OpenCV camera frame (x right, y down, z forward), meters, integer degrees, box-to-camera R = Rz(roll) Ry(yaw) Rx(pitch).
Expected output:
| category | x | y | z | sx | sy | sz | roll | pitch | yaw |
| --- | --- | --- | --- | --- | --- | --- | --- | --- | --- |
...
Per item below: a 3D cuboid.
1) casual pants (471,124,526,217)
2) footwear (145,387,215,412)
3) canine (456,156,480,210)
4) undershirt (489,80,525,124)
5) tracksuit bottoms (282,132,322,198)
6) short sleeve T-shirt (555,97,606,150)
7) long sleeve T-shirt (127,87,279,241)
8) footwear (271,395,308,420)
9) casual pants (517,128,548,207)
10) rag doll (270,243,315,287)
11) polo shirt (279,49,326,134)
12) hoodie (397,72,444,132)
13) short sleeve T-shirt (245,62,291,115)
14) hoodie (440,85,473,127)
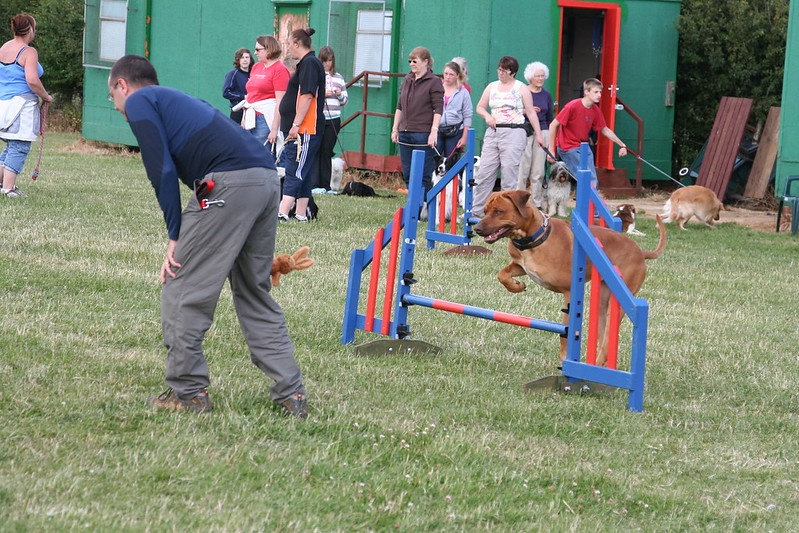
| category | x | y | z | sx | sy | sz | roll | pitch | yaw |
| --- | --- | --- | --- | --- | --- | --- | --- | --- | --- |
| casual pants | 1.412 | -1.373 | 18.308 | 0.608 | 1.306 | 0.443 | 5 | 20 | 7 |
| footwear | -2.019 | 1.244 | 11.897 | 0.590 | 0.252 | 0.220 | 4 | -2 | 6 |
| canine | 0.959 | -1.116 | 17.575 | 0.164 | 0.844 | 0.454 | 7 | 4 | 10 |
| undershirt | 1.543 | -2.280 | 18.250 | 0.511 | 0.723 | 0.404 | 1 | -8 | 27 |
| tracksuit bottoms | -1.328 | -1.442 | 17.979 | 0.380 | 1.051 | 0.485 | 20 | 14 | 17 |
| short sleeve T-shirt | 2.718 | -2.053 | 19.178 | 0.715 | 0.780 | 0.429 | 5 | 9 | 7 |
| long sleeve T-shirt | -1.837 | -0.865 | 11.970 | 1.381 | 1.477 | 1.036 | -6 | -11 | 7 |
| footwear | -1.015 | 1.294 | 11.988 | 0.327 | 0.144 | 0.165 | 4 | 12 | 12 |
| casual pants | 2.083 | -1.501 | 19.840 | 0.339 | 1.275 | 0.292 | 20 | 40 | 28 |
| rag doll | -1.122 | 0.015 | 13.588 | 0.413 | 0.289 | 0.132 | -20 | -25 | 30 |
| polo shirt | -1.330 | -2.344 | 17.786 | 0.613 | 1.149 | 1.061 | 6 | 14 | 2 |
| hoodie | 0.343 | -2.320 | 18.671 | 0.757 | 0.812 | 0.482 | 10 | 11 | 41 |
| short sleeve T-shirt | -1.946 | -2.589 | 18.688 | 0.747 | 0.756 | 0.442 | 14 | 11 | 40 |
| hoodie | 0.836 | -2.298 | 18.794 | 0.572 | 0.604 | 0.362 | 5 | 2 | 24 |
